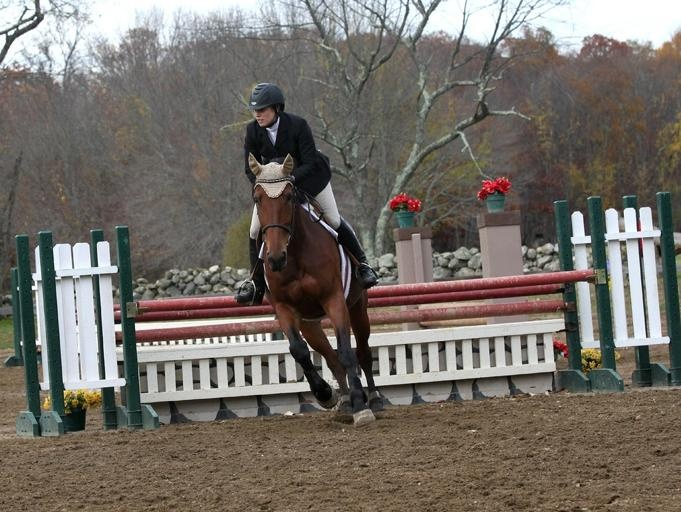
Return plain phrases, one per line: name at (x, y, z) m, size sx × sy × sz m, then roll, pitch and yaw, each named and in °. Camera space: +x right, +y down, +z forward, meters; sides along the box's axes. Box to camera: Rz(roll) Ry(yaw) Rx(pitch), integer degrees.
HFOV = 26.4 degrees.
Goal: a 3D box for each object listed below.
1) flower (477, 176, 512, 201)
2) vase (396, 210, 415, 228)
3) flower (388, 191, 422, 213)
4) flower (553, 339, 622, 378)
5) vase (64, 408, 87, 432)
flower at (4.215, -1.843, 39.732) m, size 0.833 × 0.606 × 1.018 m, roll -6°, pitch 0°, yaw 8°
vase at (1.866, -1.082, 41.646) m, size 0.482 × 0.407 × 0.524 m, roll -2°, pitch -1°, yaw 8°
flower at (1.865, -1.522, 41.662) m, size 0.732 × 0.546 × 1.251 m, roll -6°, pitch 0°, yaw 8°
flower at (5.927, 2.449, 36.144) m, size 1.072 × 0.886 × 2.657 m, roll -6°, pitch 0°, yaw 3°
vase at (-6.428, 3.911, 34.819) m, size 0.420 × 0.400 × 0.490 m, roll 1°, pitch -8°, yaw -15°
